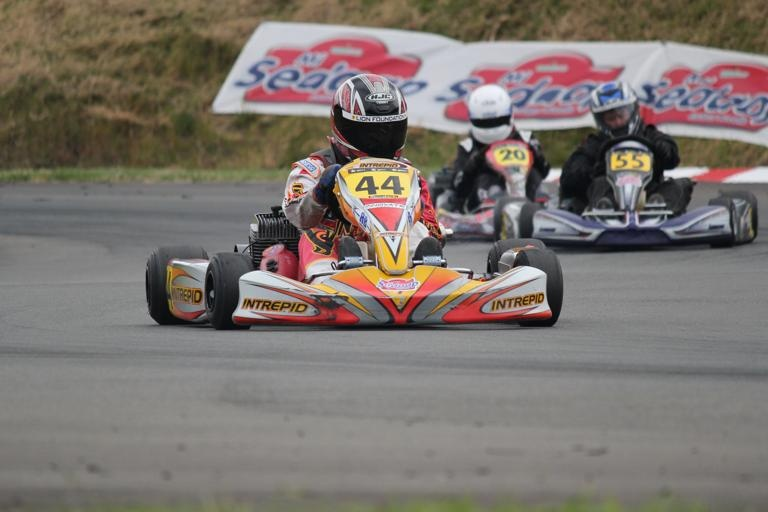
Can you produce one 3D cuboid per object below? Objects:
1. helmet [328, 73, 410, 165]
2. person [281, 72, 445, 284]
[{"bbox_3d":[-0.101,-0.947,8.423,0.510,0.569,0.639,-4,21,-19],"label":"helmet"},{"bbox_3d":[-0.141,-0.485,8.474,1.173,1.498,1.088,-6,13,-33],"label":"person"}]
